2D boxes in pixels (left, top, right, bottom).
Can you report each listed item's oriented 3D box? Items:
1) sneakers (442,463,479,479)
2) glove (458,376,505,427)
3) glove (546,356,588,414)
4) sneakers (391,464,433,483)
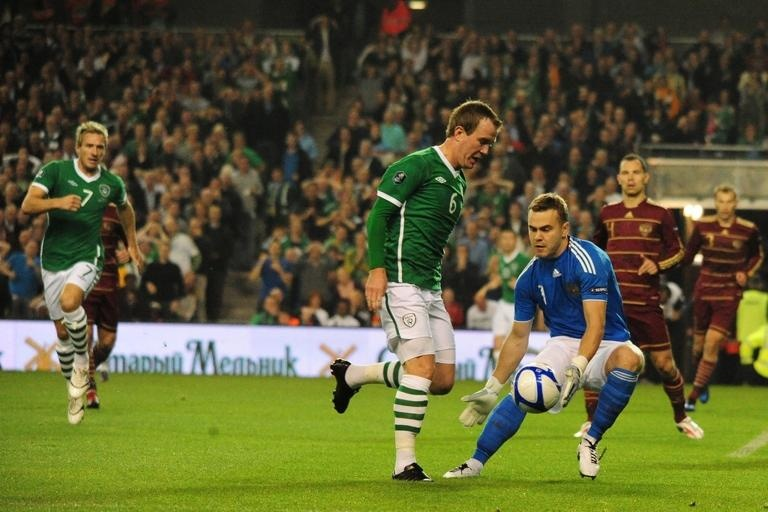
[{"bbox_3d":[0.909,2.514,14.553,0.464,0.201,0.159,1,-4,-6],"label":"sneakers"},{"bbox_3d":[1.114,1.699,14.448,0.559,0.547,0.167,43,-3,-35],"label":"glove"},{"bbox_3d":[2.146,1.444,14.263,0.279,0.799,0.330,30,13,20],"label":"glove"},{"bbox_3d":[0.310,2.501,14.307,0.351,0.156,0.200,-5,-11,26],"label":"sneakers"}]
